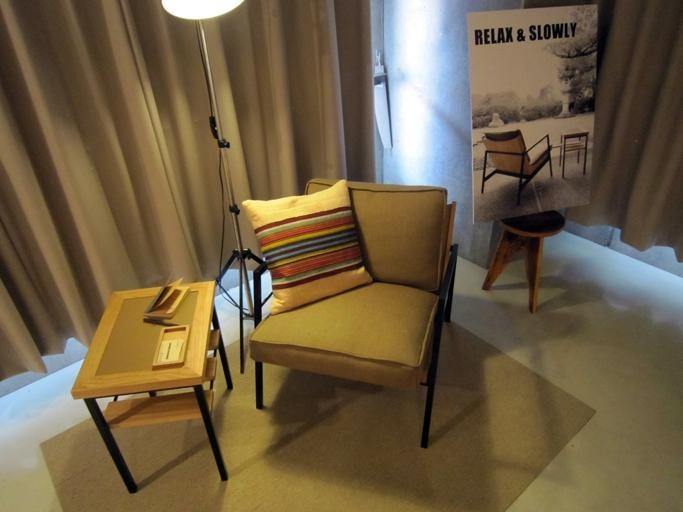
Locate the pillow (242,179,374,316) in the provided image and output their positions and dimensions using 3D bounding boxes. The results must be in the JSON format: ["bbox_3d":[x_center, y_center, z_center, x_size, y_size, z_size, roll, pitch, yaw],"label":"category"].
[{"bbox_3d":[-0.149,-0.036,2.510,0.589,0.559,0.322,-18,37,-10],"label":"pillow"}]

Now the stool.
[{"bbox_3d":[1.119,-0.015,3.071,0.338,0.531,0.378,-28,37,-36],"label":"stool"}]

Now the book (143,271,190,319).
[{"bbox_3d":[-0.828,0.186,2.379,0.131,0.069,0.187,0,42,19],"label":"book"}]

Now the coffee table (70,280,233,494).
[{"bbox_3d":[-0.838,0.591,2.369,0.528,0.676,0.666,-7,30,-5],"label":"coffee table"}]

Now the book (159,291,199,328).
[{"bbox_3d":[-0.737,0.234,2.342,0.120,0.032,0.139,10,48,6],"label":"book"}]
